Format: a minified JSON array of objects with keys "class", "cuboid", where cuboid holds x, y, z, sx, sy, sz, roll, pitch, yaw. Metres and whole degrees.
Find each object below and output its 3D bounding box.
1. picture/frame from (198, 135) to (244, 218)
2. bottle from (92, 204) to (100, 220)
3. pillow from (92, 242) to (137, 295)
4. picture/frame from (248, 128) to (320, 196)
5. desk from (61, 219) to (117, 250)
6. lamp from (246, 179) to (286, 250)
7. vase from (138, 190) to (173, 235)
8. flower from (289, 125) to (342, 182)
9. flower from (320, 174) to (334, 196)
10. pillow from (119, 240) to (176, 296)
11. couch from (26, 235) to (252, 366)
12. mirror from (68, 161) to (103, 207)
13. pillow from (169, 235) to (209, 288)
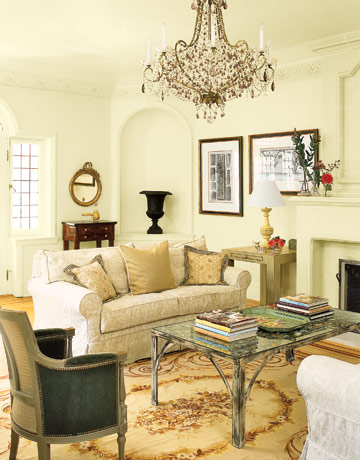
[{"class":"picture/frame","cuboid":[0.561,-0.733,5.808,0.065,1.102,0.813,-2,2,-42]},{"class":"bottle","cuboid":[-1.257,-0.268,6.302,0.123,0.249,0.391,-1,1,-10]},{"class":"pillow","cuboid":[-0.567,0.361,3.759,0.115,0.351,0.395,-21,-3,29]},{"class":"picture/frame","cuboid":[1.244,-0.793,4.880,0.046,0.711,0.972,-1,1,-35]},{"class":"desk","cuboid":[-1.327,0.194,6.138,0.669,0.614,0.403,-4,10,-39]},{"class":"lamp","cuboid":[0.992,-0.193,4.761,0.367,0.780,0.771,-1,1,13]},{"class":"vase","cuboid":[-0.356,-0.250,6.254,0.374,0.644,0.314,0,2,33]},{"class":"flower","cuboid":[1.438,-0.791,4.578,0.438,0.670,0.748,-1,1,-15]},{"class":"flower","cuboid":[1.543,-0.483,4.392,0.118,0.263,0.341,0,1,20]},{"class":"pillow","cuboid":[-0.286,0.354,3.867,0.506,0.462,0.192,-6,-4,-36]},{"class":"couch","cuboid":[-0.240,0.570,3.833,1.818,0.894,0.805,-4,1,-37]},{"class":"mirror","cuboid":[-1.406,-0.664,6.290,0.493,0.641,0.043,1,10,-36]},{"class":"pillow","cuboid":[0.113,0.249,4.478,0.187,0.653,0.706,3,-14,-8]}]
